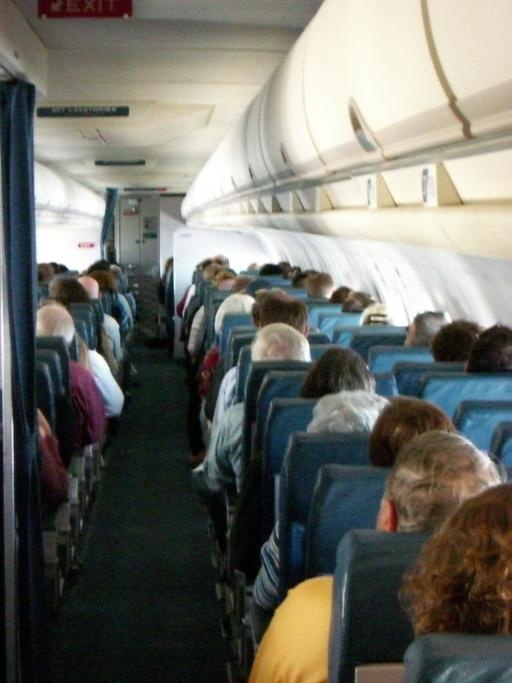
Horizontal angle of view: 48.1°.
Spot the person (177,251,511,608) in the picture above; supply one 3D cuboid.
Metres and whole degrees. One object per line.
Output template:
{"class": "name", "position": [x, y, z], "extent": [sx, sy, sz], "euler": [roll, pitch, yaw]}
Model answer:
{"class": "person", "position": [0.453, 0.552, 2.629], "extent": [1.076, 1.643, 1.347], "euler": [-2, 20, -6]}

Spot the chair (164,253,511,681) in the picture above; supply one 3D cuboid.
{"class": "chair", "position": [0.433, 0.619, 2.547], "extent": [1.012, 1.650, 1.313], "euler": [-1, 18, -5]}
